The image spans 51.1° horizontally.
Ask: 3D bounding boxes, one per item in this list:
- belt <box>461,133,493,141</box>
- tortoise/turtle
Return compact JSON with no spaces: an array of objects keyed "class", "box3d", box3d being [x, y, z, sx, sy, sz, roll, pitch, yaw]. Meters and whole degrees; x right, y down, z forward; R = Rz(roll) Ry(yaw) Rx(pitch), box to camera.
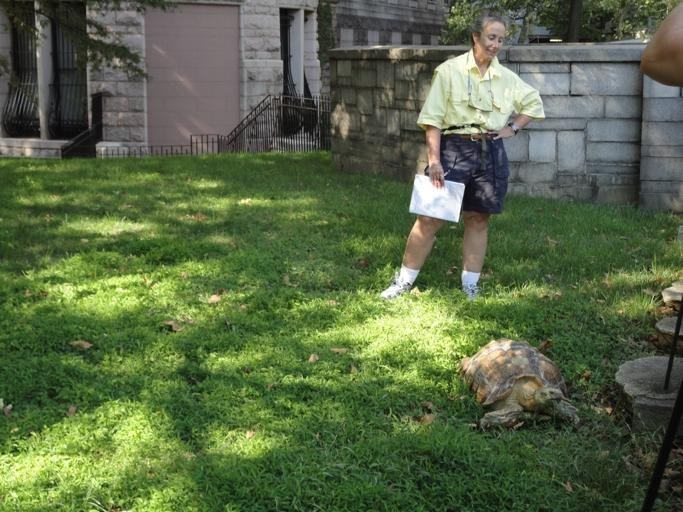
[{"class":"belt","box3d":[1.201,-1.148,6.347,0.265,0.075,0.054,5,9,9]},{"class":"tortoise/turtle","box3d":[1.260,0.864,5.218,0.659,0.434,1.124,-10,14,-12]}]
